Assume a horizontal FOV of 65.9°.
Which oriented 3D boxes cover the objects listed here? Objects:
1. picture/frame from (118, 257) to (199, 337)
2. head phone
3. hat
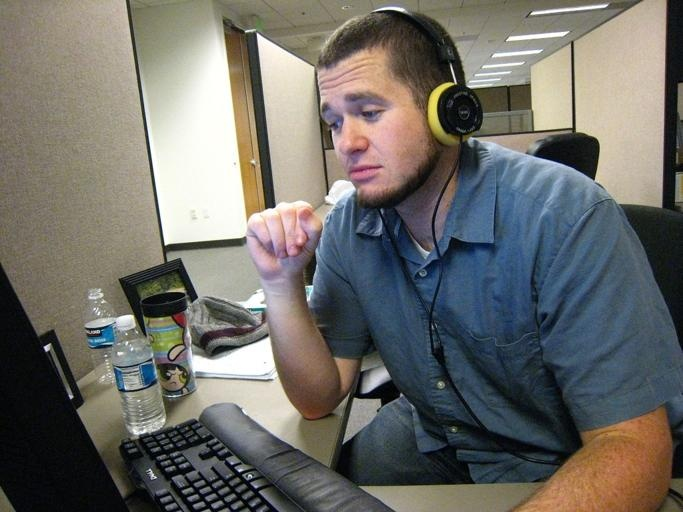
[{"bbox_3d":[-0.461,0.103,1.302,0.007,0.176,0.174,-27,1,35],"label":"picture/frame"},{"bbox_3d":[0.175,-0.362,1.064,0.187,0.292,0.144,-8,13,5],"label":"head phone"},{"bbox_3d":[-0.320,0.170,1.415,0.176,0.069,0.146,7,16,36],"label":"hat"}]
